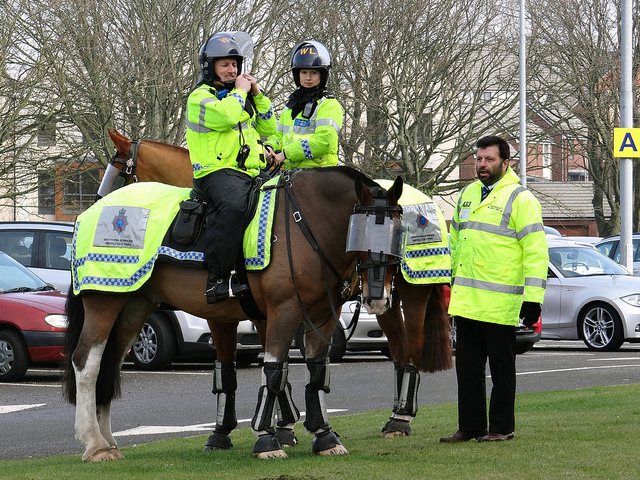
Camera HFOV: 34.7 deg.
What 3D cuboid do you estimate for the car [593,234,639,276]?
[{"bbox_3d":[7.533,0.291,26.032,1.725,0.725,0.936,3,0,16],"label":"car"}]

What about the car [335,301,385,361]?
[{"bbox_3d":[0.654,1.544,17.783,0.833,0.799,1.524,0,-4,-3],"label":"car"}]

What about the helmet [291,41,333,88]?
[{"bbox_3d":[-0.128,-2.141,12.192,0.396,0.581,0.308,-10,15,-20],"label":"helmet"}]

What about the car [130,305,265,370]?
[{"bbox_3d":[-2.237,1.769,18.295,2.709,1.157,1.531,-4,-5,20],"label":"car"}]

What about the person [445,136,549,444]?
[{"bbox_3d":[1.982,0.521,11.494,1.109,3.419,0.595,0,-1,13],"label":"person"}]
